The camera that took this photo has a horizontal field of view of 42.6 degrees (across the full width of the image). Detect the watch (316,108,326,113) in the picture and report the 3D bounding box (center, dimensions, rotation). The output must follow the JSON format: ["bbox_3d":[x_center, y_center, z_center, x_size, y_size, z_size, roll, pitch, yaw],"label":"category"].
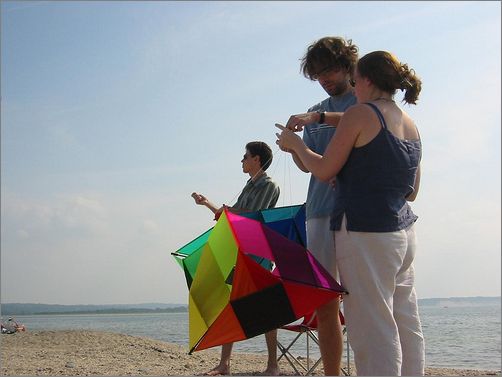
[{"bbox_3d":[0.749,-0.825,6.845,0.077,0.058,0.072,12,13,-39],"label":"watch"}]
